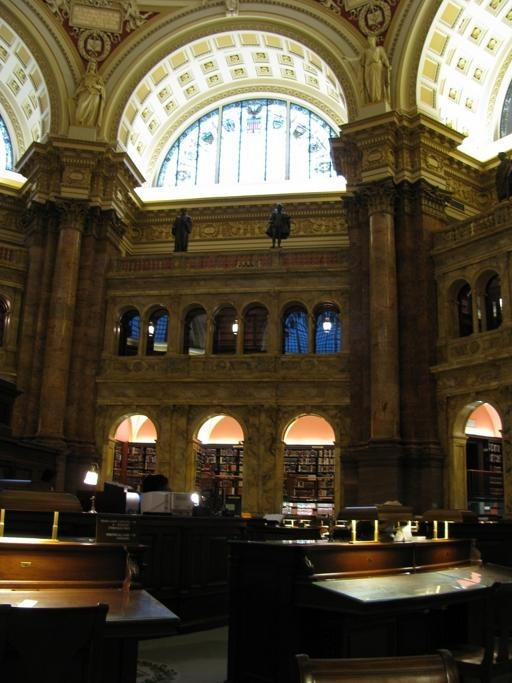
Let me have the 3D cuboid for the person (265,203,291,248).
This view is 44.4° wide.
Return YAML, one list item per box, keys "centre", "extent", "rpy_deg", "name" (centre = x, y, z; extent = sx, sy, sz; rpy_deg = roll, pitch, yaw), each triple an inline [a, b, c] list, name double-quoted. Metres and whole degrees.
- centre: [0.753, -3.796, 21.205]
  extent: [0.763, 1.870, 0.948]
  rpy_deg: [4, -18, -10]
  name: "person"

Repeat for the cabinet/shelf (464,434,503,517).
- centre: [7.112, 4.185, 19.545]
  extent: [0.914, 2.453, 1.659]
  rpy_deg: [-8, -19, 27]
  name: "cabinet/shelf"

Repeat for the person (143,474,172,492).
- centre: [-1.812, 2.569, 11.347]
  extent: [0.422, 0.298, 0.744]
  rpy_deg: [4, -16, -10]
  name: "person"
